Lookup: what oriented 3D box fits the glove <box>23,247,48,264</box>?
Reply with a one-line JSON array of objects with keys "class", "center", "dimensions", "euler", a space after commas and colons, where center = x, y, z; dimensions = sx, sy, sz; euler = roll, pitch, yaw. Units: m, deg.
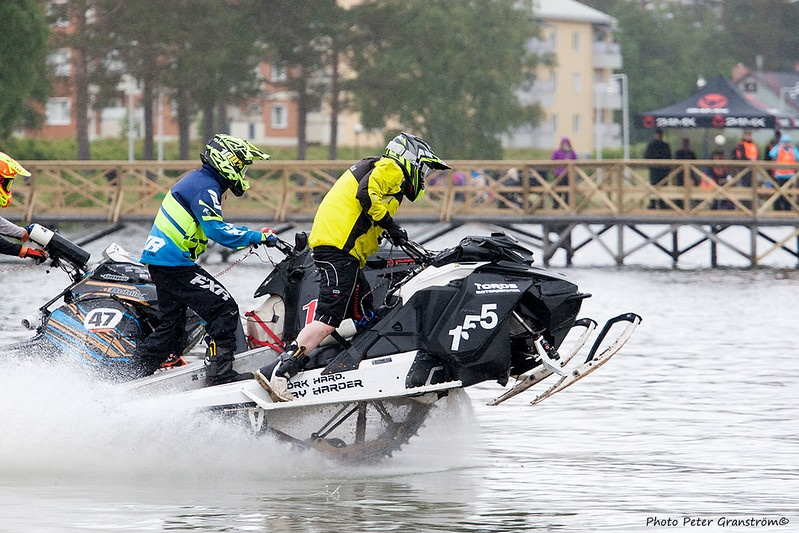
[{"class": "glove", "center": [-5.649, -0.203, 28.453], "dimensions": [0.304, 0.119, 0.273], "euler": [10, 3, -3]}]

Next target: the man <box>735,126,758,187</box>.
[{"class": "man", "center": [8.408, -2.618, 43.642], "dimensions": [0.460, 0.966, 0.348], "euler": [-18, 16, -20]}]

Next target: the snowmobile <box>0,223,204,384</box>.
[{"class": "snowmobile", "center": [-4.209, 0.467, 29.162], "dimensions": [3.813, 1.844, 1.717], "euler": [-21, 1, 3]}]

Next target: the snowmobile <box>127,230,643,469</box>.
[{"class": "snowmobile", "center": [-0.874, 0.983, 28.474], "dimensions": [8.925, 2.885, 2.675], "euler": [-7, 1, -7]}]
